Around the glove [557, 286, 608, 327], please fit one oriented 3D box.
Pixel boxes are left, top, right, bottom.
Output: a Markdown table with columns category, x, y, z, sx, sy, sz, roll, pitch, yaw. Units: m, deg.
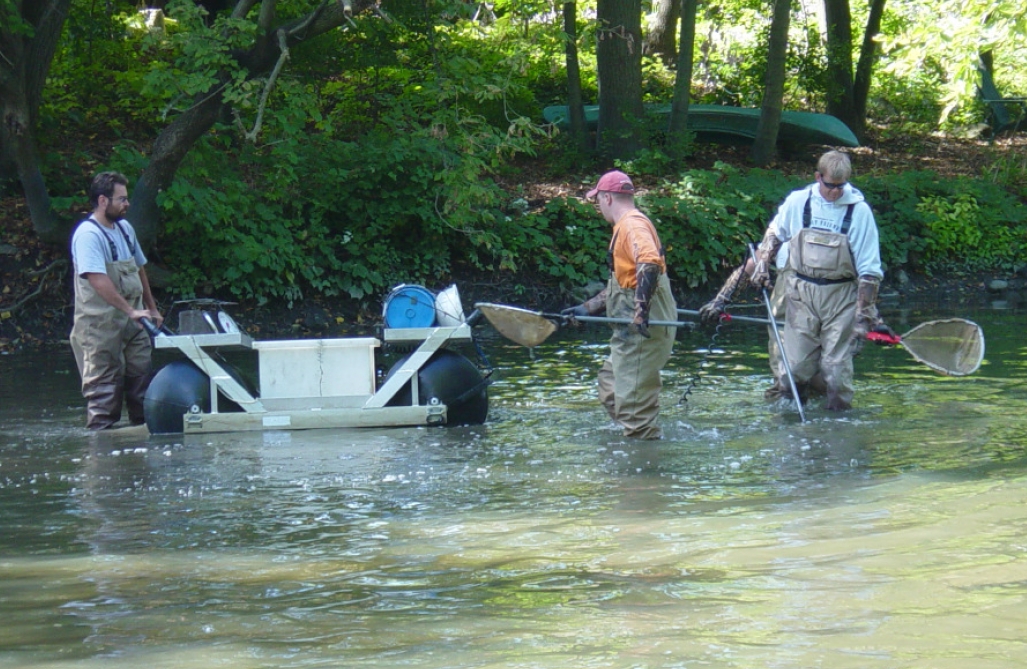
| category | x | y | z | sx | sy | sz | roll | pitch | yaw |
| --- | --- | --- | --- | --- | --- | --- | --- | --- | --- |
| glove | 0.976 | -0.377 | 18.970 | 0.924 | 0.227 | 0.368 | -36 | -7 | 15 |

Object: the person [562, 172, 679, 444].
| category | x | y | z | sx | sy | sz | roll | pitch | yaw |
| --- | --- | --- | --- | --- | --- | --- | --- | --- | --- |
| person | 1.328 | -0.313 | 15.041 | 0.988 | 2.528 | 0.973 | -2 | 1 | 2 |

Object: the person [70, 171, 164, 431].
| category | x | y | z | sx | sy | sz | roll | pitch | yaw |
| --- | --- | --- | --- | --- | --- | --- | --- | --- | --- |
| person | -4.824 | -0.387 | 15.912 | 0.843 | 3.040 | 0.942 | -2 | 1 | 38 |

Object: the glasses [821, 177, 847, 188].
| category | x | y | z | sx | sy | sz | roll | pitch | yaw |
| --- | --- | --- | --- | --- | --- | --- | --- | --- | --- |
| glasses | 3.661 | -1.712 | 15.110 | 0.285 | 0.085 | 0.158 | -2 | 1 | 2 |

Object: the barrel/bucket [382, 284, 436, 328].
| category | x | y | z | sx | sy | sz | roll | pitch | yaw |
| --- | --- | --- | --- | --- | --- | --- | --- | --- | --- |
| barrel/bucket | -1.256 | -0.317 | 15.690 | 0.619 | 0.469 | 0.324 | -2 | 1 | -3 |

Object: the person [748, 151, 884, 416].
| category | x | y | z | sx | sy | sz | roll | pitch | yaw |
| --- | --- | --- | --- | --- | --- | --- | --- | --- | --- |
| person | 3.595 | -0.574 | 15.638 | 0.761 | 2.340 | 1.460 | -3 | 1 | -34 |

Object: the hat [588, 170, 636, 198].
| category | x | y | z | sx | sy | sz | roll | pitch | yaw |
| --- | --- | --- | --- | --- | --- | --- | --- | --- | --- |
| hat | 0.991 | -1.752 | 15.143 | 0.732 | 0.342 | 0.452 | 1 | 0 | 13 |
